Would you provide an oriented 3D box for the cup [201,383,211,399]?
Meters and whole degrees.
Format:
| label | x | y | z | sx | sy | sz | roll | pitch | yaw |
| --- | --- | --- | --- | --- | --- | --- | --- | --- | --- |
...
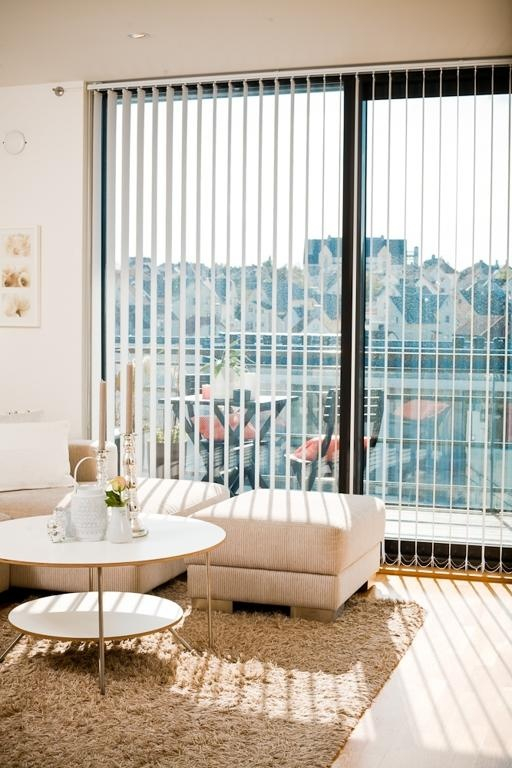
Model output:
| label | x | y | z | sx | sy | sz | roll | pitch | yaw |
| --- | --- | --- | --- | --- | --- | --- | --- | --- | --- |
| cup | -0.292 | 0.046 | 3.934 | 0.067 | 0.086 | 0.072 | 1 | 1 | 0 |

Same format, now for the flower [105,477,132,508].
| label | x | y | z | sx | sy | sz | roll | pitch | yaw |
| --- | --- | --- | --- | --- | --- | --- | --- | --- | --- |
| flower | -0.474 | 0.371 | 2.223 | 0.080 | 0.095 | 0.151 | 2 | -3 | -13 |

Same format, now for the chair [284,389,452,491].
| label | x | y | z | sx | sy | sz | roll | pitch | yaw |
| --- | --- | --- | --- | --- | --- | --- | --- | --- | --- |
| chair | 0.671 | 0.275 | 3.719 | 0.591 | 0.838 | 0.640 | 4 | -1 | 39 |

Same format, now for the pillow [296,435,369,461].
| label | x | y | z | sx | sy | sz | roll | pitch | yaw |
| --- | --- | --- | --- | --- | --- | --- | --- | --- | --- |
| pillow | 0.381 | 0.361 | 3.724 | 0.259 | 0.074 | 0.192 | -4 | 2 | 0 |

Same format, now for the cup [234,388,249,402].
| label | x | y | z | sx | sy | sz | roll | pitch | yaw |
| --- | --- | --- | --- | --- | --- | --- | --- | --- | --- |
| cup | -0.082 | 0.065 | 3.861 | 0.075 | 0.061 | 0.076 | 0 | 3 | 0 |

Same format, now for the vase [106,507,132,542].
| label | x | y | z | sx | sy | sz | roll | pitch | yaw |
| --- | --- | --- | --- | --- | --- | --- | --- | --- | --- |
| vase | -0.448 | 0.476 | 2.197 | 0.077 | 0.116 | 0.116 | 1 | 0 | 7 |

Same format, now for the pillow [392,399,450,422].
| label | x | y | z | sx | sy | sz | roll | pitch | yaw |
| --- | --- | --- | --- | --- | --- | --- | --- | --- | --- |
| pillow | 0.909 | 0.145 | 3.568 | 0.275 | 0.125 | 0.050 | 0 | -4 | 30 |

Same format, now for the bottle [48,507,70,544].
| label | x | y | z | sx | sy | sz | roll | pitch | yaw |
| --- | --- | --- | --- | --- | --- | --- | --- | --- | --- |
| bottle | -0.647 | 0.463 | 2.142 | 0.071 | 0.106 | 0.075 | 1 | -3 | 0 |

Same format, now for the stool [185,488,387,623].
| label | x | y | z | sx | sy | sz | roll | pitch | yaw |
| --- | --- | --- | --- | --- | --- | --- | --- | --- | --- |
| stool | 0.143 | 0.686 | 2.753 | 0.514 | 0.300 | 0.580 | 1 | 6 | 16 |
